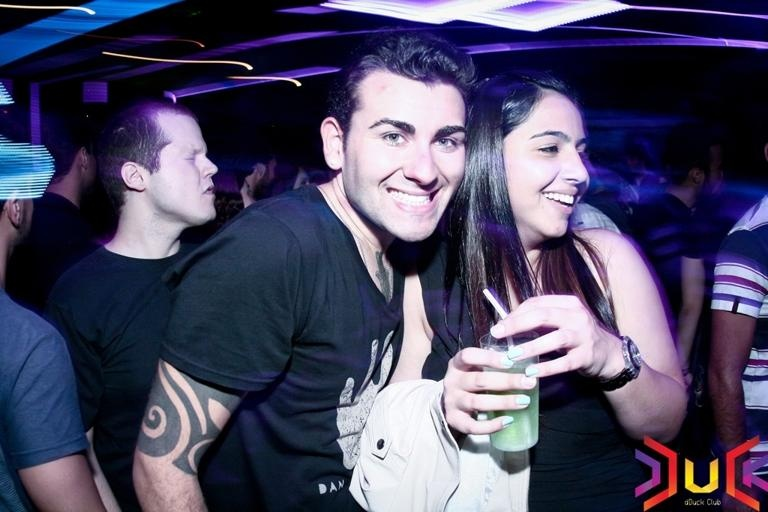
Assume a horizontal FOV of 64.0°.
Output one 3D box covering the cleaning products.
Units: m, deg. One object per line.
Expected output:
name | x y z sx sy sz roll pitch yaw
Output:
cleaning products | 0.758 0.865 3.760 0.353 0.785 0.190 -1 7 8
